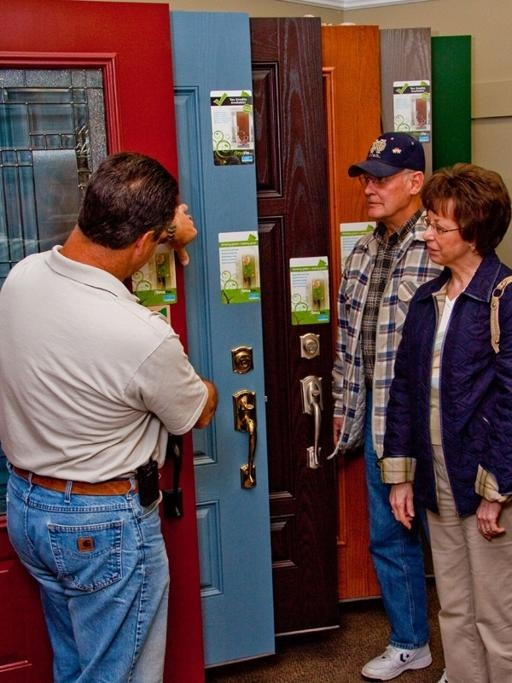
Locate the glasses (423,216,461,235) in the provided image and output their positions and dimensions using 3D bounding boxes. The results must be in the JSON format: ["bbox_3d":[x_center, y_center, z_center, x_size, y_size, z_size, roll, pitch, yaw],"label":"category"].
[{"bbox_3d":[0.426,-0.261,1.324,0.069,0.021,0.069,0,29,-19],"label":"glasses"}]

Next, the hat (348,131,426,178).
[{"bbox_3d":[0.393,-0.559,1.779,0.214,0.119,0.138,-6,21,-25],"label":"hat"}]
